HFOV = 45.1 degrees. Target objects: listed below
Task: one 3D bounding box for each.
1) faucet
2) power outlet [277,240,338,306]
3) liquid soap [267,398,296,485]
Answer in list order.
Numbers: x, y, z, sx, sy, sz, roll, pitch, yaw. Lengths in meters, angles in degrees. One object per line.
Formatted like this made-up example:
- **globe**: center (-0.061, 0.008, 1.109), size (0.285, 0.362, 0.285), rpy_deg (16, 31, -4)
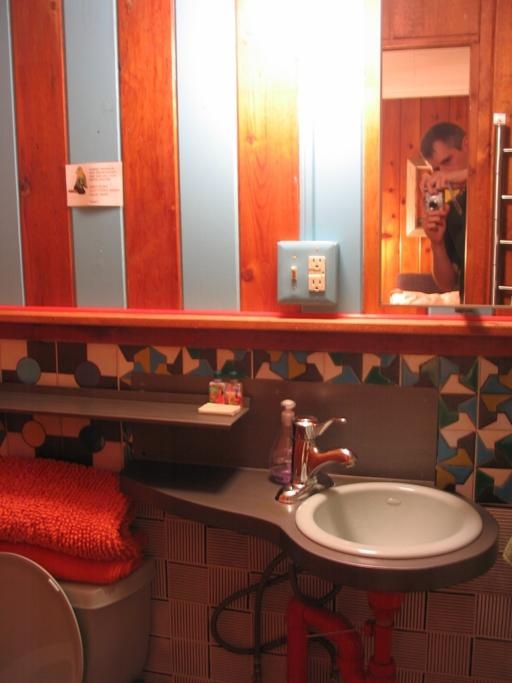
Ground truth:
- **faucet**: center (0.142, 0.246, 1.369), size (0.134, 0.174, 0.192), rpy_deg (-3, 12, 3)
- **power outlet**: center (0.116, -0.158, 1.422), size (0.133, 0.142, 0.041), rpy_deg (2, 12, 22)
- **liquid soap**: center (0.052, 0.225, 1.414), size (0.038, 0.181, 0.066), rpy_deg (2, 14, -6)
